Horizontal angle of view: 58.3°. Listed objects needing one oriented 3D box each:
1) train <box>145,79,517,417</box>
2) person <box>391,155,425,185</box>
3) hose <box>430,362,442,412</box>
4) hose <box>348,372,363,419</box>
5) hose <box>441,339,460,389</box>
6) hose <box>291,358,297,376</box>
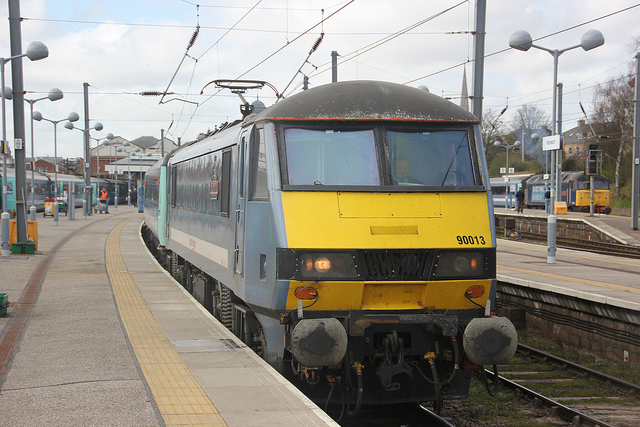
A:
[{"bbox_3d":[-0.106,0.531,10.007,3.025,5.544,6.189,-3,3,-34],"label":"train"},{"bbox_3d":[1.238,-0.615,8.649,0.771,0.423,0.289,0,0,4],"label":"person"},{"bbox_3d":[1.727,2.598,8.429,0.166,0.801,0.106,-7,14,-21],"label":"hose"},{"bbox_3d":[0.549,2.651,8.341,0.207,0.750,0.388,-1,2,-9],"label":"hose"},{"bbox_3d":[1.977,2.235,8.525,0.279,0.808,0.278,1,3,35],"label":"hose"},{"bbox_3d":[-0.377,2.275,8.484,0.056,0.249,0.066,-8,3,0],"label":"hose"}]
